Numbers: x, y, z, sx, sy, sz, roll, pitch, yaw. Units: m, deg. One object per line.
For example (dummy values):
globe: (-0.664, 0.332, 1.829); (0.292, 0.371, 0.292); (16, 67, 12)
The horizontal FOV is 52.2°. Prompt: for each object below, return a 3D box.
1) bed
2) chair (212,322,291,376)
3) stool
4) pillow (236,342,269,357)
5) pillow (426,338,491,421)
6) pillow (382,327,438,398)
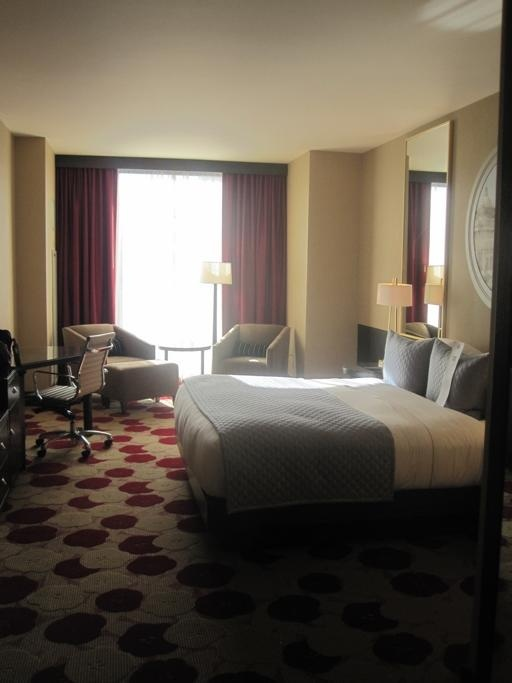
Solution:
bed: (0.432, 0.518, 2.650); (1.163, 0.580, 1.276); (2, 2, -4)
chair: (-0.018, 0.106, 6.130); (0.614, 0.752, 0.702); (2, 0, 13)
stool: (-1.211, 0.395, 5.370); (0.468, 0.450, 0.643); (3, -2, -29)
pillow: (-0.042, 0.106, 6.345); (0.319, 0.185, 0.080); (3, -12, 13)
pillow: (1.139, 0.231, 2.987); (0.135, 0.292, 0.410); (-4, 6, -7)
pillow: (1.095, 0.162, 3.699); (0.101, 0.284, 0.422); (6, 6, -7)
